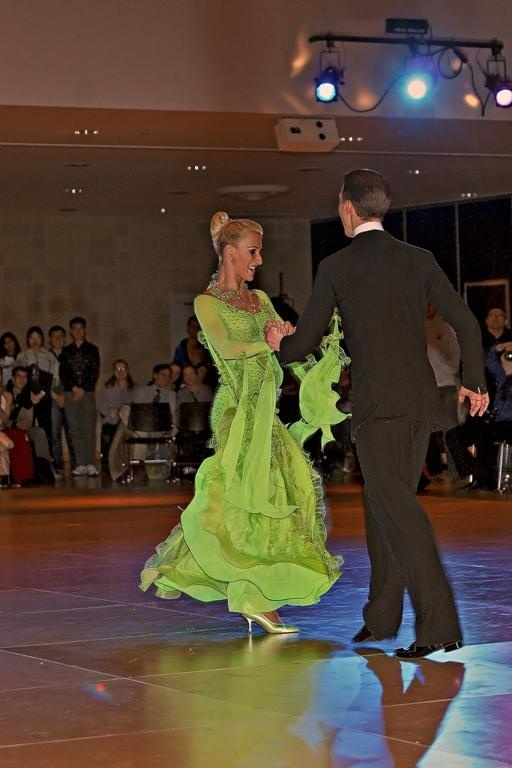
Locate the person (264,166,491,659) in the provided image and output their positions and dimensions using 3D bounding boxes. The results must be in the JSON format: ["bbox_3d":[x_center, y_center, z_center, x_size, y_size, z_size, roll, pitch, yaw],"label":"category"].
[{"bbox_3d":[0.399,0.087,2.321,0.669,1.520,0.294,-4,-1,15],"label":"person"}]

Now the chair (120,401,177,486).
[{"bbox_3d":[-1.684,0.814,11.551,1.223,1.589,1.235,-1,4,-7],"label":"chair"}]

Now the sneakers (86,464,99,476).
[{"bbox_3d":[-2.835,1.486,12.380,0.164,0.190,0.084,-13,6,-29],"label":"sneakers"}]

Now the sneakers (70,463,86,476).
[{"bbox_3d":[-3.044,1.493,12.368,0.177,0.073,0.216,1,17,16],"label":"sneakers"}]
